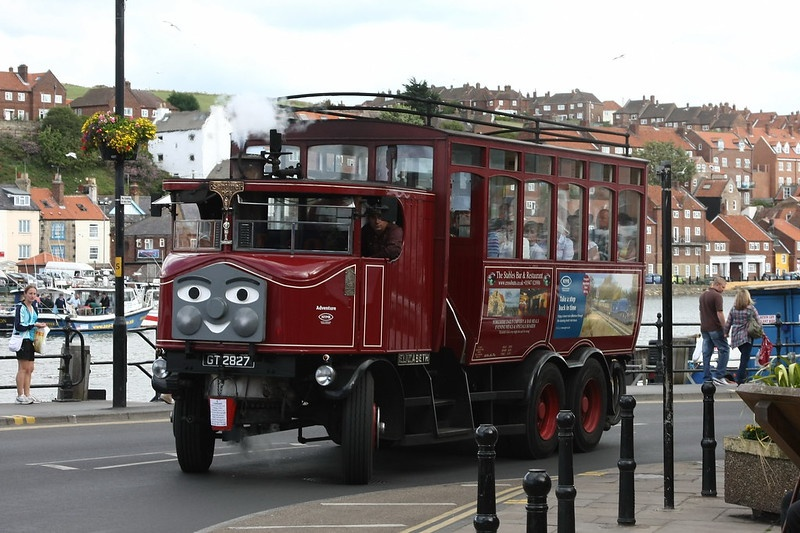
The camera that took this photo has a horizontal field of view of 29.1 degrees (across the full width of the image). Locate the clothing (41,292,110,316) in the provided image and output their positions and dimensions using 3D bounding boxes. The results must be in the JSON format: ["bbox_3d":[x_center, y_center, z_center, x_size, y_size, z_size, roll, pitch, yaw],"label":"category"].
[{"bbox_3d":[-19.734,2.013,95.159,1.927,1.390,3.496,-1,-5,25],"label":"clothing"}]

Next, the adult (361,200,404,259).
[{"bbox_3d":[-0.389,-0.645,28.459,0.904,1.123,0.703,-2,3,0],"label":"adult"}]

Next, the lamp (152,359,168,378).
[{"bbox_3d":[-4.362,1.875,28.162,0.300,0.368,0.375,2,3,-1],"label":"lamp"}]

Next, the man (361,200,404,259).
[{"bbox_3d":[-0.397,-0.608,28.451,0.954,1.156,0.731,-1,-4,-15],"label":"man"}]

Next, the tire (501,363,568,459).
[{"bbox_3d":[2.616,2.843,30.833,0.771,2.034,2.112,1,14,22],"label":"tire"}]

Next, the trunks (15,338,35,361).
[{"bbox_3d":[-8.622,1.905,35.893,0.448,0.607,0.661,0,1,8],"label":"trunks"}]

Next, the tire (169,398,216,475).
[{"bbox_3d":[-3.769,3.146,28.455,0.599,1.567,1.428,-2,-4,3],"label":"tire"}]

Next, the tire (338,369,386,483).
[{"bbox_3d":[-0.697,2.815,27.847,0.687,2.219,1.995,0,-5,8],"label":"tire"}]

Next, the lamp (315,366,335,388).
[{"bbox_3d":[-1.321,1.964,27.561,0.347,0.299,0.178,1,-1,-5],"label":"lamp"}]

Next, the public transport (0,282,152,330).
[{"bbox_3d":[-16.246,2.039,78.345,10.115,2.554,2.859,0,3,24],"label":"public transport"}]

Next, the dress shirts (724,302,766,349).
[{"bbox_3d":[8.780,1.503,39.448,1.230,1.301,0.616,-3,-25,28],"label":"dress shirts"}]

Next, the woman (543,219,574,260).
[{"bbox_3d":[3.225,-0.504,31.285,0.560,0.643,0.710,1,1,2],"label":"woman"}]

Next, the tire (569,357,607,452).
[{"bbox_3d":[3.722,2.786,31.058,0.663,2.017,1.905,-2,-5,26],"label":"tire"}]
